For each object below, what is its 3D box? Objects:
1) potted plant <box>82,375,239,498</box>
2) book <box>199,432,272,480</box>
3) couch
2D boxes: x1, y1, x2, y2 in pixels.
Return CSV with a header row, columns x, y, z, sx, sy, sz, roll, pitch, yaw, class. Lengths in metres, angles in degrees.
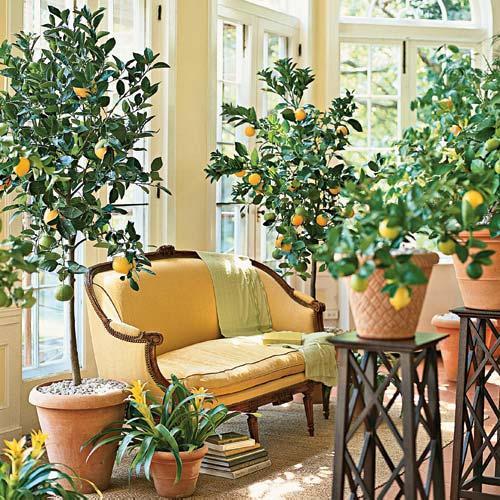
x,y,z,sx,sy,sz,roll,pitch,yaw,class
-0.430,0.866,2.568,0.653,0.406,0.632,-3,-4,23,potted plant
-0.063,1.121,2.794,0.326,0.136,0.331,0,0,38,book
-0.192,0.655,3.561,1.034,1.155,1.923,5,4,34,couch
